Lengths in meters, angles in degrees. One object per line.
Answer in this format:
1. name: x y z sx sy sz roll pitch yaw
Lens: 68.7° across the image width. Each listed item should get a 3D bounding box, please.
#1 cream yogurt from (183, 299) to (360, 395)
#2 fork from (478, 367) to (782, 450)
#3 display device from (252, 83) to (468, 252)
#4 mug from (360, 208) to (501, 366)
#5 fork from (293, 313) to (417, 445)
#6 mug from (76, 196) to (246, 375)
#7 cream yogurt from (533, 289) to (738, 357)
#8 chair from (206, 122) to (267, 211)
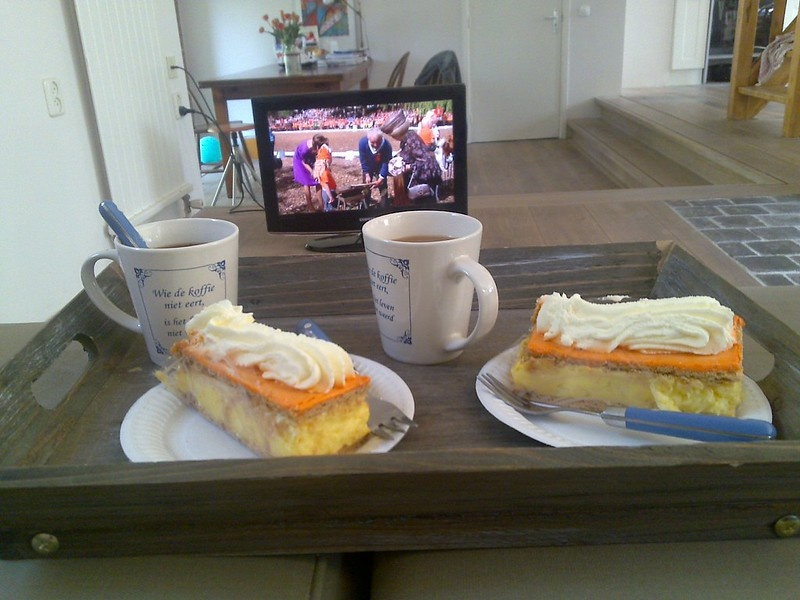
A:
1. cream yogurt: -0.119 0.046 0.517 0.176 0.052 0.070 20 45 27
2. fork: 0.204 0.096 0.504 0.311 0.039 0.038 4 70 17
3. display device: -0.061 -0.215 0.941 0.305 0.213 0.091 -3 14 0
4. mug: 0.048 0.002 0.624 0.128 0.137 0.187 -13 24 -28
5. fork: -0.063 0.062 0.616 0.050 0.025 0.239 -26 46 -24
6. mug: -0.271 -0.014 0.653 0.155 0.143 0.103 3 30 -8
7. cream yogurt: 0.216 0.013 0.530 0.130 0.038 0.079 -2 14 15
8. chair: -1.015 -0.841 3.755 0.331 0.491 0.307 -8 28 -10
